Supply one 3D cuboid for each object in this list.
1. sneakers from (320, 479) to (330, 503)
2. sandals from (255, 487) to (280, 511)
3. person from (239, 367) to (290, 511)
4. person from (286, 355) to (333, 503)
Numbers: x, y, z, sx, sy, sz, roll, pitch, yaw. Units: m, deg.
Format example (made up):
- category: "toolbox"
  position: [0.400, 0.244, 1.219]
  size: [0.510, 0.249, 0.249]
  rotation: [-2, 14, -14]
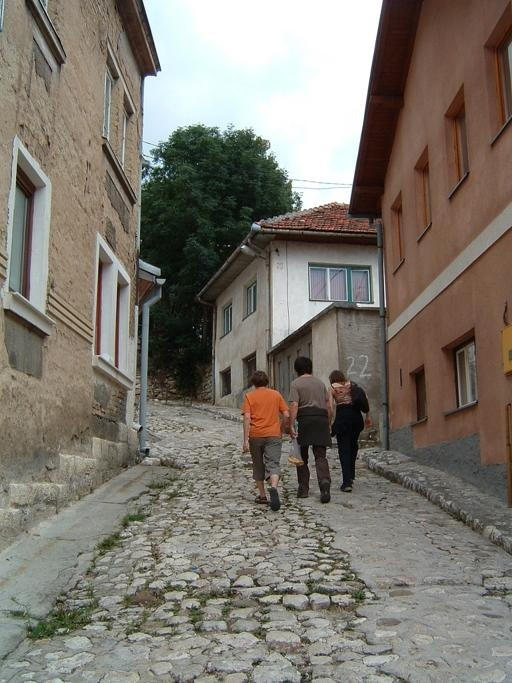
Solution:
- category: "sneakers"
  position: [0.812, 1.779, 6.233]
  size: [0.113, 0.264, 0.187]
  rotation: [-1, -6, 4]
- category: "sandals"
  position: [0.143, 1.766, 5.937]
  size: [0.154, 0.223, 0.491]
  rotation: [2, -7, -5]
- category: "person"
  position: [0.122, 1.151, 6.341]
  size: [0.531, 1.607, 1.234]
  rotation: [-1, -6, 3]
- category: "person"
  position: [0.678, 1.079, 6.638]
  size: [0.512, 1.776, 0.814]
  rotation: [-1, -6, 8]
